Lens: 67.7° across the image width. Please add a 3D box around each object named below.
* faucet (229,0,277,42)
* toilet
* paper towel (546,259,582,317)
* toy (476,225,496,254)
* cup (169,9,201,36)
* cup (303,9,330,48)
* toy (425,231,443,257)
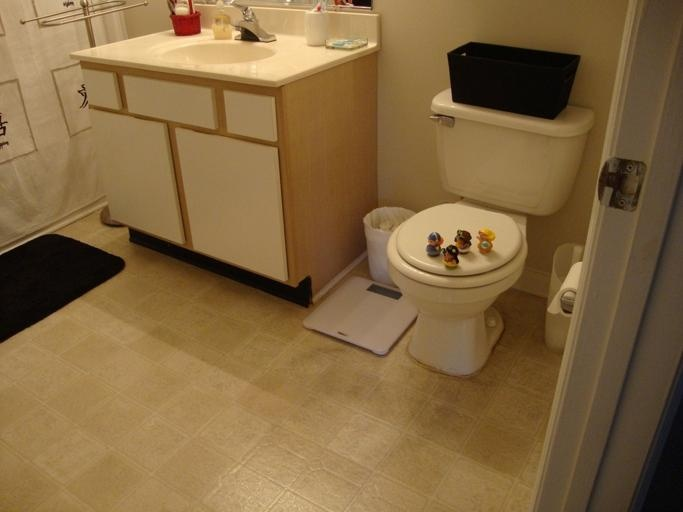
[{"bbox_3d":[-0.384,-0.986,2.201,0.214,0.163,0.144,10,44,5],"label":"faucet"},{"bbox_3d":[0.480,-0.052,1.877,0.549,0.854,0.783,16,35,29],"label":"toilet"},{"bbox_3d":[0.766,0.106,1.749,0.045,0.184,0.129,17,-6,-4],"label":"paper towel"},{"bbox_3d":[0.476,-0.053,1.726,0.068,0.096,0.066,14,28,29],"label":"toy"},{"bbox_3d":[-0.722,-1.087,2.351,0.115,0.079,0.119,-1,38,1],"label":"cup"},{"bbox_3d":[-0.104,-0.934,2.091,0.122,0.130,0.116,1,33,-1],"label":"cup"},{"bbox_3d":[0.304,-0.038,1.671,0.048,0.068,0.045,11,41,15],"label":"toy"}]
